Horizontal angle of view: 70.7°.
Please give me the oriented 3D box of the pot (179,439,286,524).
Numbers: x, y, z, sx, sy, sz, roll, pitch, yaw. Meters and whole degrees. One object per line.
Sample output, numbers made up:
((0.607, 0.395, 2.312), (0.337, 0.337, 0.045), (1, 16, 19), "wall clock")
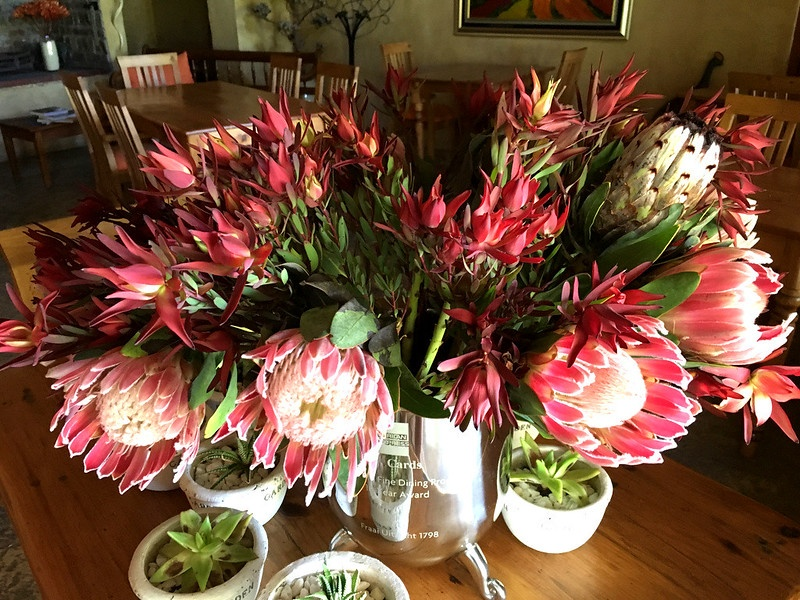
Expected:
((-0.190, 0.212, 0.651), (0.117, 0.069, 0.116), (-3, 22, 1), "pot")

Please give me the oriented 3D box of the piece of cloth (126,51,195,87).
((-1.718, -1.601, 3.976), (0.378, 0.352, 0.094), (-4, 37, -38), "piece of cloth")
